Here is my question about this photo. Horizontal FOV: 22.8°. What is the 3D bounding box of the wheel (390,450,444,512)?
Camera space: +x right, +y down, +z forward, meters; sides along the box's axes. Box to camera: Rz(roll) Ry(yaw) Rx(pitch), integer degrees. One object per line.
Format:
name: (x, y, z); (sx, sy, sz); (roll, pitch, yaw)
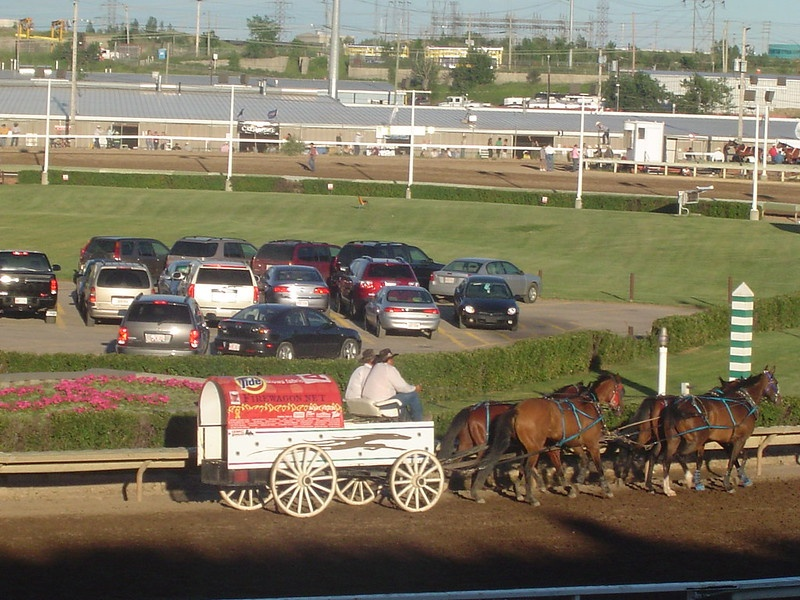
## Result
wheel: (0.483, 6.478, 71.545); (1.580, 1.582, 0.476); (-44, 3, 2)

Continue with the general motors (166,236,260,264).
general motors: (-8.826, -2.175, 91.724); (4.526, 1.052, 2.139); (-6, 15, -28)

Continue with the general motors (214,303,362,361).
general motors: (-4.327, 1.514, 81.516); (5.365, 1.816, 2.433); (-2, 4, -39)

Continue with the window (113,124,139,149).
window: (-19.577, -11.532, 139.638); (2.317, 2.427, 0.573); (1, -10, -9)

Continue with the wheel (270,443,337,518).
wheel: (-3.569, 6.351, 70.925); (2.293, 2.296, 0.593); (-9, 10, -13)

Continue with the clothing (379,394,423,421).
clothing: (0.142, 3.861, 72.542); (0.995, 1.345, 1.038); (7, 19, 35)

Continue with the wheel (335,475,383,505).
wheel: (-1.527, 6.842, 72.125); (1.678, 1.063, 0.815); (1, 14, -2)

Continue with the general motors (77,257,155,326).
general motors: (-12.745, -0.621, 86.110); (3.202, 1.441, 1.629); (-8, 15, 30)

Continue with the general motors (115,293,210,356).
general motors: (-9.781, 0.923, 82.872); (3.573, 2.882, 6.119); (2, 14, -2)

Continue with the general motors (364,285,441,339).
general motors: (-0.096, 0.453, 87.264); (2.879, 2.102, 4.922); (-1, 6, -17)

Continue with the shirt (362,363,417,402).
shirt: (-0.416, 3.008, 72.149); (1.216, 1.011, 1.654); (7, 3, 40)

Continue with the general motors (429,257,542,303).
general motors: (4.121, -0.686, 91.821); (4.735, 1.593, 2.141); (-5, 7, -38)
